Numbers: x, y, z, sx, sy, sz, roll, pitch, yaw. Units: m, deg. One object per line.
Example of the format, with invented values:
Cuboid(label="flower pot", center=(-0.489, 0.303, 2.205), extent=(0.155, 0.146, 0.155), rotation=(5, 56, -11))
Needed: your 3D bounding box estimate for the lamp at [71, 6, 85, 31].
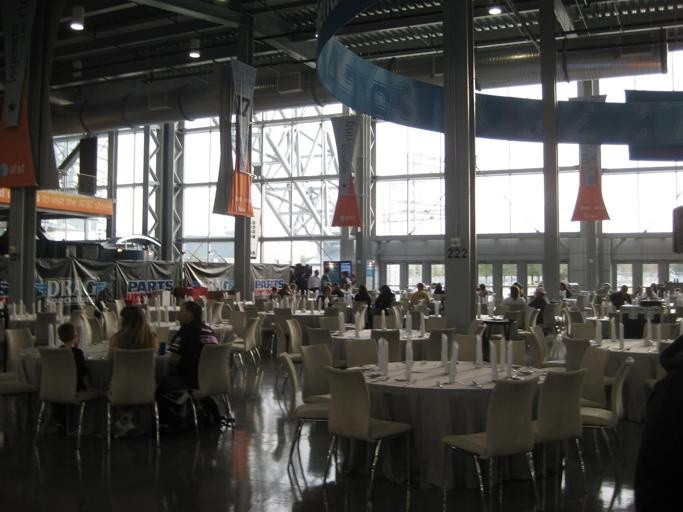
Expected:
Cuboid(label="lamp", center=(-5.614, -5.071, 15.461), extent=(0.251, 0.499, 0.680), rotation=(-4, 10, -22))
